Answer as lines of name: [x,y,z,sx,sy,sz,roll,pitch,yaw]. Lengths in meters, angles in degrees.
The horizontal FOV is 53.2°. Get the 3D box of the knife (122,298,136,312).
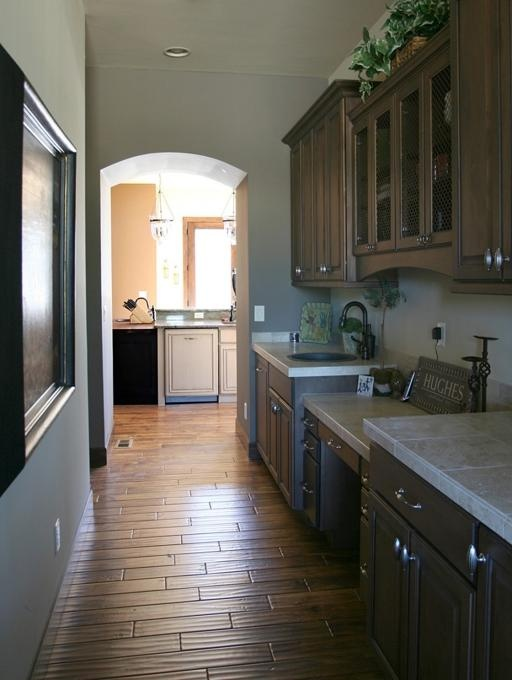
knife: [-1.732,-0.458,6.964,0.126,0.175,0.753,-1,2,-16]

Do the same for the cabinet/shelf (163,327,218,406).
cabinet/shelf: [-0.673,0.344,6.380,0.626,1.306,0.719,0,-3,-4]
